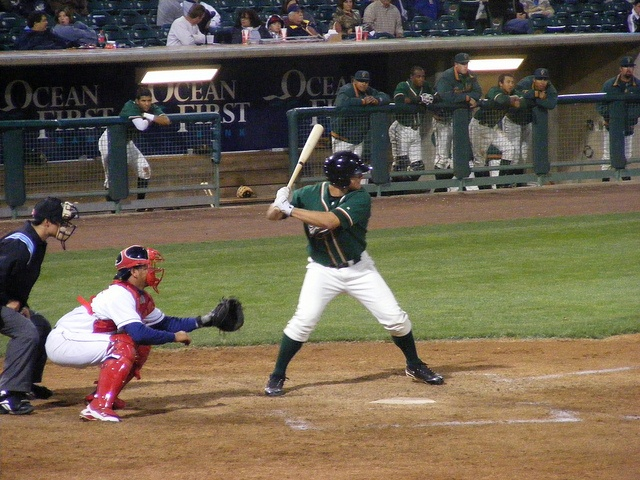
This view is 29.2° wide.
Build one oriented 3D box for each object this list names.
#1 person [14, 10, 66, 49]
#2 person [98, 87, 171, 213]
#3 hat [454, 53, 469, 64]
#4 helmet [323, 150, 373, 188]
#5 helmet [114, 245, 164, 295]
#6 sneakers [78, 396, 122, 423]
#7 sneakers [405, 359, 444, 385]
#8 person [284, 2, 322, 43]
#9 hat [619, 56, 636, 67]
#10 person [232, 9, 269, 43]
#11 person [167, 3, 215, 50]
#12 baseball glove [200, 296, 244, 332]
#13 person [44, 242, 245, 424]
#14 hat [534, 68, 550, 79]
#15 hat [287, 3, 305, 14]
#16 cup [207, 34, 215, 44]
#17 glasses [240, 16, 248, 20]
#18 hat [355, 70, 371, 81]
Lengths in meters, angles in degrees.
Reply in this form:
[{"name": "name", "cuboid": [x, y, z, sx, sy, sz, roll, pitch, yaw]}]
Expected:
[{"name": "person", "cuboid": [-4.701, -3.503, 20.581, 0.882, 0.656, 0.437, -1, 5, 1]}, {"name": "person", "cuboid": [-2.989, -1.457, 19.788, 1.162, 2.006, 0.541, -1, 5, -6]}, {"name": "hat", "cuboid": [2.360, -3.074, 20.766, 0.271, 0.101, 0.173, 3, 22, 22]}, {"name": "helmet", "cuboid": [0.204, -0.762, 12.692, 0.559, 0.276, 0.306, -12, 34, -3]}, {"name": "helmet", "cuboid": [-1.858, 0.279, 12.545, 0.704, 0.448, 0.458, -3, 1, -9]}, {"name": "sneakers", "cuboid": [-2.194, 1.669, 12.162, 0.400, 0.231, 0.209, 2, 5, 30]}, {"name": "sneakers", "cuboid": [1.191, 1.392, 12.975, 0.527, 0.180, 0.166, 12, 32, 20]}, {"name": "person", "cuboid": [-0.346, -4.062, 22.632, 0.581, 0.673, 0.794, -1, 4, -1]}, {"name": "hat", "cuboid": [5.449, -3.172, 21.878, 0.230, 0.110, 0.260, -1, 5, -9]}, {"name": "person", "cuboid": [-1.260, -3.783, 21.866, 0.666, 0.602, 0.771, -1, 4, 1]}, {"name": "person", "cuboid": [-2.285, -3.697, 21.408, 0.843, 0.734, 0.788, -2, 4, -20]}, {"name": "baseball glove", "cuboid": [-0.974, 0.766, 12.532, 0.521, 0.204, 0.287, 0, 52, -3]}, {"name": "person", "cuboid": [-1.857, 0.914, 12.361, 1.793, 1.704, 0.593, -1, 5, -10]}, {"name": "hat", "cuboid": [3.851, -2.900, 21.400, 0.274, 0.129, 0.299, 2, 11, -4]}, {"name": "hat", "cuboid": [-0.512, -4.269, 22.674, 0.347, 0.105, 0.236, 4, 16, 42]}, {"name": "cup", "cuboid": [-1.956, -3.559, 21.805, 0.219, 0.155, 0.179, 0, 0, 4]}, {"name": "glasses", "cuboid": [-1.360, -3.962, 21.854, 0.109, 0.039, 0.120, 1, 7, 7]}, {"name": "hat", "cuboid": [0.680, -2.727, 20.399, 0.241, 0.106, 0.273, -1, 8, -24]}]
